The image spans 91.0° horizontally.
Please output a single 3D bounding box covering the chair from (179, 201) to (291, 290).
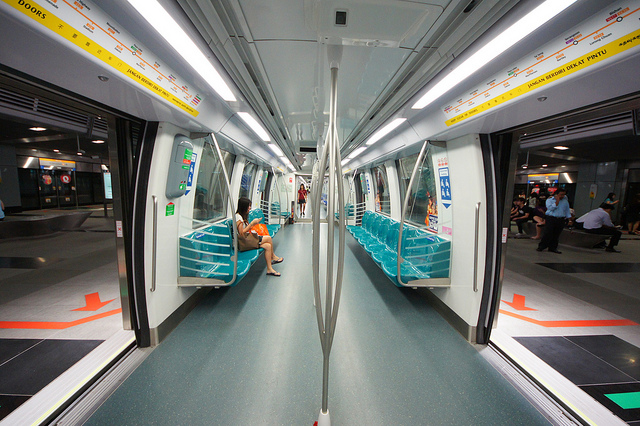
[{"bbox_3d":[-1.402,0.455,4.866,0.853,0.996,2.089,2,4,-1],"label":"chair"}]

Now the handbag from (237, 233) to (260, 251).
[{"bbox_3d":[-1.210,0.477,5.249,0.344,0.260,0.131,-1,6,-13],"label":"handbag"}]

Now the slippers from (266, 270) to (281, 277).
[{"bbox_3d":[-0.827,1.055,5.546,0.203,0.077,0.106,-1,0,5],"label":"slippers"}]
